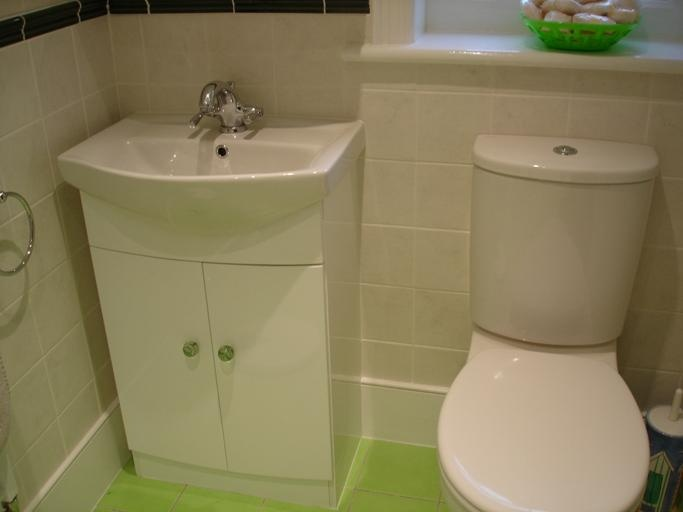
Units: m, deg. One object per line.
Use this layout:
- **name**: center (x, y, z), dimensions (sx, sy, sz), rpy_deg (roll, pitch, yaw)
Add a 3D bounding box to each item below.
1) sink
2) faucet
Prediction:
- **sink**: center (-0.338, -0.263, 1.385), dimensions (0.718, 0.176, 0.462), rpy_deg (9, 26, 15)
- **faucet**: center (-0.324, -0.416, 1.436), dimensions (0.218, 0.141, 0.169), rpy_deg (-22, 34, -40)
